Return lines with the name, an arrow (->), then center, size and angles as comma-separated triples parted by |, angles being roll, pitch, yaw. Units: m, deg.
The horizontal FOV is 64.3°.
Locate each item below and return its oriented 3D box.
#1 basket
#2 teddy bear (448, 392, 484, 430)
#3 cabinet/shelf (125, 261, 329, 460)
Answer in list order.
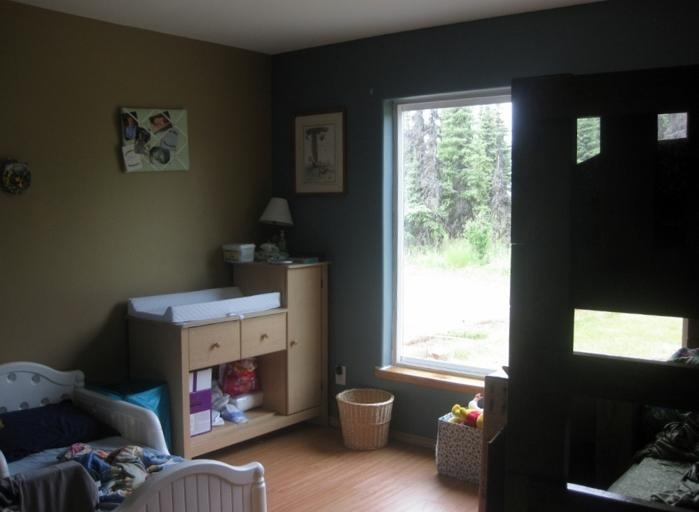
basket -> 0.088, 1.140, 3.867 | 0.380, 0.298, 0.343 | 1, -2, -35
teddy bear -> 0.731, 0.945, 3.427 | 0.194, 0.163, 0.428 | 0, 9, 11
cabinet/shelf -> -0.838, 0.700, 3.703 | 0.488, 1.128, 1.202 | 0, 3, 35
